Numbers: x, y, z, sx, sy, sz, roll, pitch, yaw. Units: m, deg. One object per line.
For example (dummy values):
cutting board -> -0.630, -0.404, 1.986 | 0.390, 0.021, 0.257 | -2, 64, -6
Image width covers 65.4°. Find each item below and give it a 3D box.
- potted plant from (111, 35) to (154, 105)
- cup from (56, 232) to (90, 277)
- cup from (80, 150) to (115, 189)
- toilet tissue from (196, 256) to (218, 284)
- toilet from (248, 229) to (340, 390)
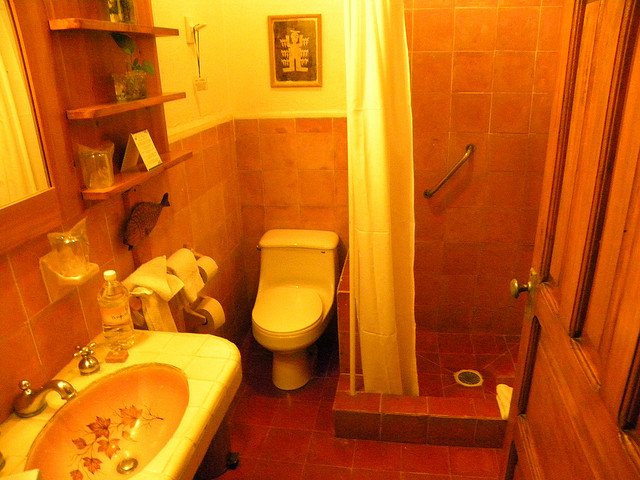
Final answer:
potted plant -> -0.683, -0.616, 1.794 | 0.123, 0.229, 0.102 | -9, 16, -17
cup -> -0.784, 0.040, 1.576 | 0.066, 0.131, 0.103 | 19, 33, 35
cup -> -0.753, -0.238, 1.709 | 0.111, 0.158, 0.110 | -7, -9, -1
toilet tissue -> -0.529, 0.136, 2.344 | 0.124, 0.082, 0.071 | 19, 25, 13
toilet -> -0.178, 0.394, 2.998 | 0.586, 0.722, 0.735 | 0, 26, 2
